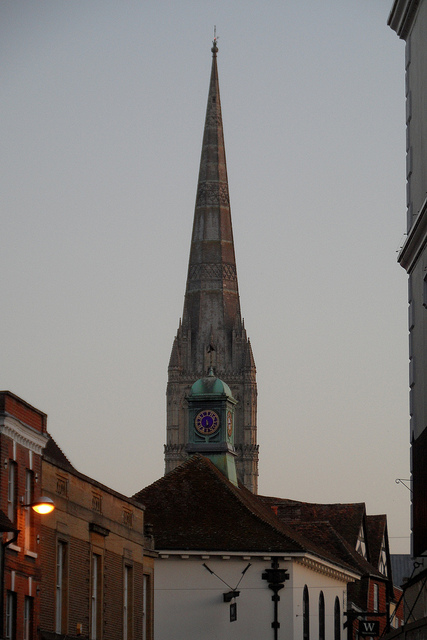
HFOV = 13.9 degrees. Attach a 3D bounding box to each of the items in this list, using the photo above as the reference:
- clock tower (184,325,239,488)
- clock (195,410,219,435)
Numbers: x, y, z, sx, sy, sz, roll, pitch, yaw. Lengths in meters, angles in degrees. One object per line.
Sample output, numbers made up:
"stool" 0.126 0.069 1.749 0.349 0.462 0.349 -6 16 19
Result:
"clock tower" 0.114 4.341 74.066 2.231 6.919 2.483 7 -19 -25
"clock" -0.144 4.336 73.454 0.840 1.338 0.133 1 -40 3
